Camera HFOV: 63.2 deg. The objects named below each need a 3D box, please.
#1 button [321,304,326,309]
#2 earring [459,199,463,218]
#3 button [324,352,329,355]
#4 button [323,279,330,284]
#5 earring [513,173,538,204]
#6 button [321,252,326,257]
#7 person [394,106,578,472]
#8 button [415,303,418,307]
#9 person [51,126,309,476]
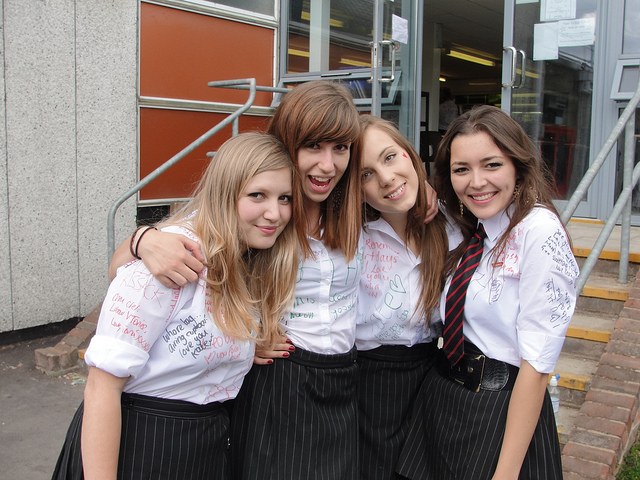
[{"bbox_3d":[0.014,0.255,2.000,0.019,0.015,0.008,1,13,-2],"label":"button"},{"bbox_3d":[0.594,-0.130,2.206,0.009,0.062,0.029,-2,13,-12],"label":"earring"},{"bbox_3d":[0.023,0.429,1.970,0.012,0.007,0.003,7,2,12],"label":"button"},{"bbox_3d":[0.025,0.158,2.002,0.022,0.025,0.012,1,18,2],"label":"button"},{"bbox_3d":[0.768,-0.197,1.963,0.057,0.104,0.084,-11,18,-43],"label":"earring"},{"bbox_3d":[0.010,0.056,2.015,0.014,0.016,0.004,0,-9,-8],"label":"button"},{"bbox_3d":[0.650,0.223,1.962,0.587,1.411,0.515,8,14,29],"label":"person"},{"bbox_3d":[0.385,0.259,2.096,0.012,0.008,0.007,-3,14,-14],"label":"button"},{"bbox_3d":[-0.438,0.234,1.850,0.930,1.228,0.388,-12,18,-43],"label":"person"}]
